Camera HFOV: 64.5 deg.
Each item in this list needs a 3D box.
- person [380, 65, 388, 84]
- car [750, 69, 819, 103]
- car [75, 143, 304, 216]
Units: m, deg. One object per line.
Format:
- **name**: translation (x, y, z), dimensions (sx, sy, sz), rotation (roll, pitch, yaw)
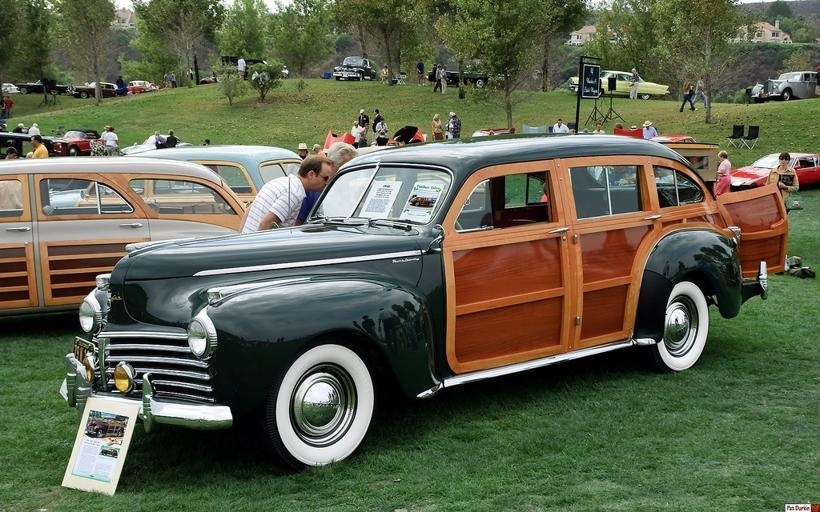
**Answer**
- **person**: translation (-2.229, -15.889, 56.985), dimensions (0.521, 1.450, 1.173), rotation (-2, 9, -2)
- **car**: translation (23.035, -10.258, 39.979), dimensions (3.899, 1.572, 2.050), rotation (-1, 2, -10)
- **car**: translation (-4.030, -1.721, 13.337), dimensions (3.191, 1.361, 1.702), rotation (2, 3, 2)
